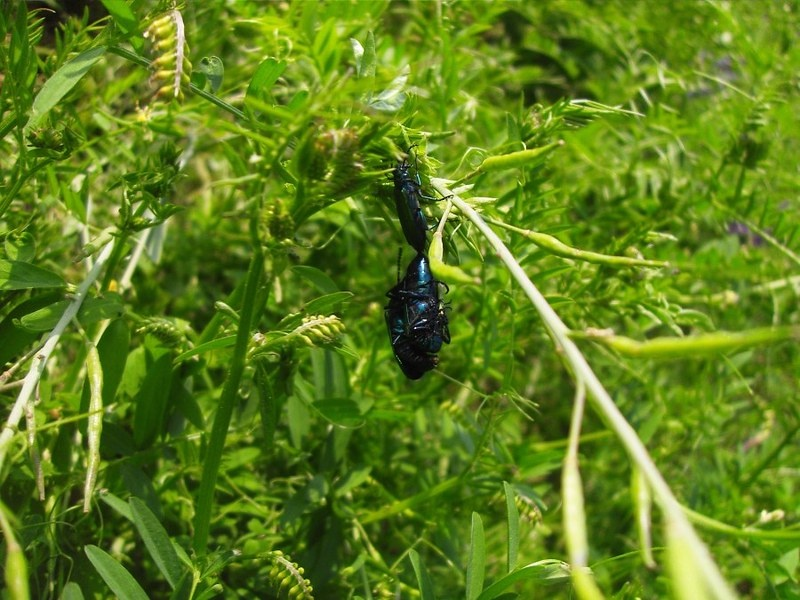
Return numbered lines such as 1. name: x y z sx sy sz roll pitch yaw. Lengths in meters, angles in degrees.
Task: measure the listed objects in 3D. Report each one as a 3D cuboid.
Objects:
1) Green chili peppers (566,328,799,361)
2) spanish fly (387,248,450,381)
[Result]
1. Green chili peppers: 0.640 0.103 1.802 0.428 0.056 0.061 -11 -11 32
2. spanish fly: 0.040 0.036 2.083 0.172 0.282 0.197 14 37 2
